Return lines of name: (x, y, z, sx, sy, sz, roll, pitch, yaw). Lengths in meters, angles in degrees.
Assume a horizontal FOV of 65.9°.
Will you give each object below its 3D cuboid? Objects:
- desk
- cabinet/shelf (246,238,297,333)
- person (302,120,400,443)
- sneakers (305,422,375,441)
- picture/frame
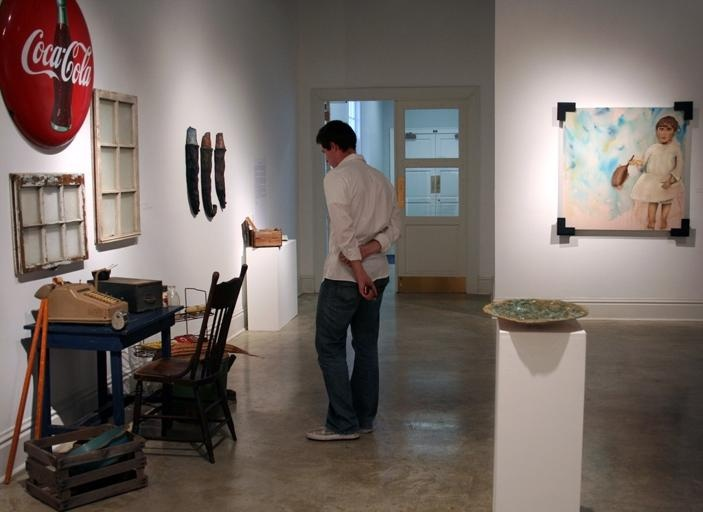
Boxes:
desk: (-1.651, 0.749, 3.665, 0.708, 0.732, 0.797, 0, 7, 8)
cabinet/shelf: (-0.997, 0.374, 6.583, 0.296, 0.921, 1.006, 1, 5, 4)
person: (0.018, 0.174, 3.708, 0.502, 2.162, 0.543, 4, 8, 32)
sneakers: (-0.084, 1.172, 3.757, 0.414, 0.143, 0.165, 2, -7, 0)
picture/frame: (3.393, -1.092, 6.591, 1.436, 1.665, 0.058, 0, 4, 7)
